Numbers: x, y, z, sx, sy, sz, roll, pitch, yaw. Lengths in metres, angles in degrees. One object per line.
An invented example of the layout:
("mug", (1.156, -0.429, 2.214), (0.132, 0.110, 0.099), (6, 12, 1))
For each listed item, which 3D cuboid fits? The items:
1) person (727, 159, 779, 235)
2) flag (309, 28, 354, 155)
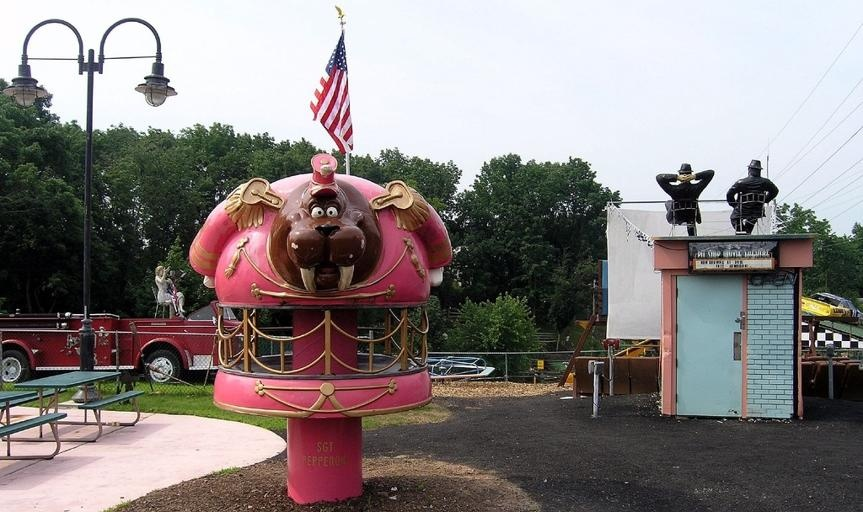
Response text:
("person", (10.261, -1.853, 29.766), (1.026, 2.312, 1.066), (2, -5, -35))
("flag", (-2.628, -4.398, 24.907), (0.976, 3.345, 1.046), (0, -4, -8))
